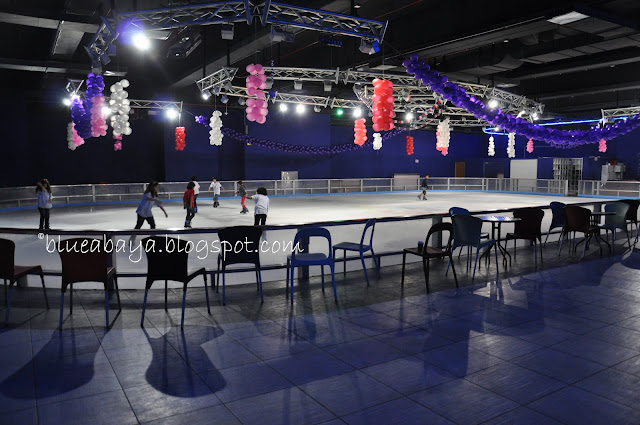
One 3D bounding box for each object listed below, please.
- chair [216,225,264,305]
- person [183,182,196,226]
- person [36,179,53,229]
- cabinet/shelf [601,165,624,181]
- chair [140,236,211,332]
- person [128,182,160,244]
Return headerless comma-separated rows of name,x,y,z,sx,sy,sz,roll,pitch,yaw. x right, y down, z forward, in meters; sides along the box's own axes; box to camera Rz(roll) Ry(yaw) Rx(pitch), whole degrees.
chair,-1.468,0.882,8.634,0.848,1.335,0.879,-2,6,-12
person,-4.105,-0.257,15.067,0.374,1.468,1.960,-3,6,-15
person,-8.880,-0.284,15.367,0.387,1.511,1.375,-5,7,-30
cabinet/shelf,18.685,-2.531,30.438,1.502,1.308,0.998,-1,0,-23
chair,-2.437,1.063,7.756,0.969,1.406,1.039,5,8,42
person,-4.585,0.015,12.973,1.079,1.658,1.002,-3,15,-41
